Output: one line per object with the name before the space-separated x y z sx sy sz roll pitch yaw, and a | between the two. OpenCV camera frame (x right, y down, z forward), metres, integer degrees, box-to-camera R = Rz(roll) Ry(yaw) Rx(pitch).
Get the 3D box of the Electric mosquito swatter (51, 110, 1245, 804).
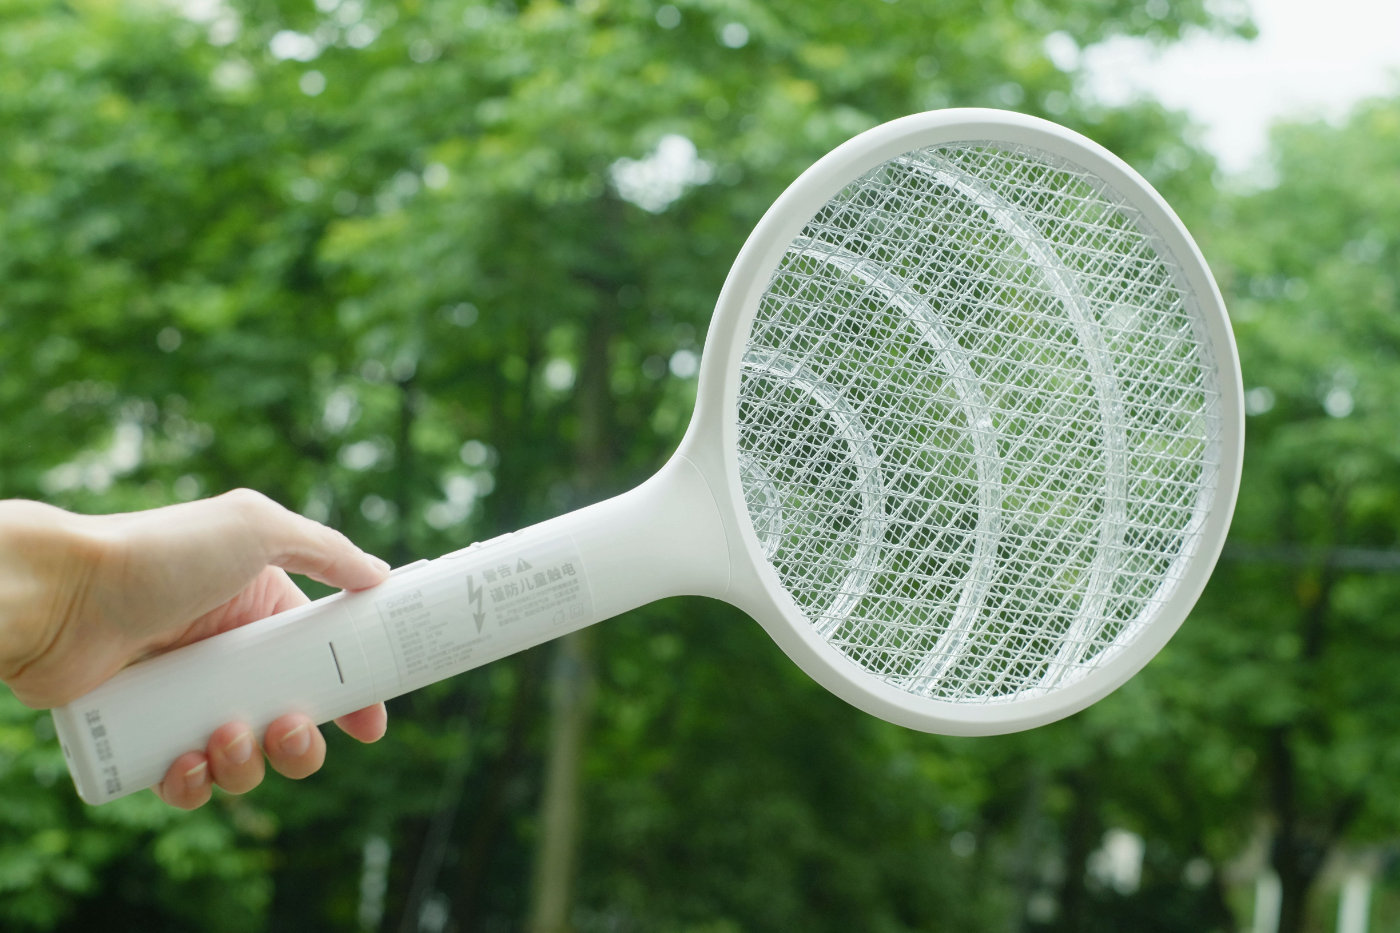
Electric mosquito swatter | -0.017 0.094 2.340 1.742 0.169 0.863 -22 99 -11
